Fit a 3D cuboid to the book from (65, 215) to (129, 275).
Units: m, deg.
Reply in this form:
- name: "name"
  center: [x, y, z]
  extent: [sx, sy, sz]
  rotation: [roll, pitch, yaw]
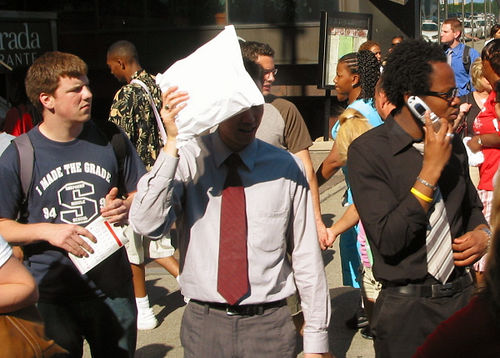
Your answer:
- name: "book"
  center: [-1.090, 0.449, 3.919]
  extent: [0.362, 0.272, 0.049]
  rotation: [-43, -11, -9]

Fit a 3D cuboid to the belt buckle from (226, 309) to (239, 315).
- name: "belt buckle"
  center: [-0.109, 0.819, 3.466]
  extent: [0.076, 0.041, 0.012]
  rotation: [-3, 5, -3]

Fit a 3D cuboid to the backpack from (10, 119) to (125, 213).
- name: "backpack"
  center: [-1.316, -0.121, 4.124]
  extent: [0.776, 0.613, 0.247]
  rotation: [-6, 6, -26]

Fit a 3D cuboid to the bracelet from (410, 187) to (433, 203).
- name: "bracelet"
  center: [1.073, 0.102, 3.510]
  extent: [0.089, 0.023, 0.094]
  rotation: [32, 2, 41]

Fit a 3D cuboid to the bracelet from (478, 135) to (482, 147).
- name: "bracelet"
  center: [2.412, -0.408, 5.881]
  extent: [0.038, 0.120, 0.175]
  rotation: [-1, 6, 22]

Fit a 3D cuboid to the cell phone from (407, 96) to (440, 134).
- name: "cell phone"
  center: [1.140, -0.430, 3.657]
  extent: [0.078, 0.296, 0.047]
  rotation: [-43, -24, 23]
